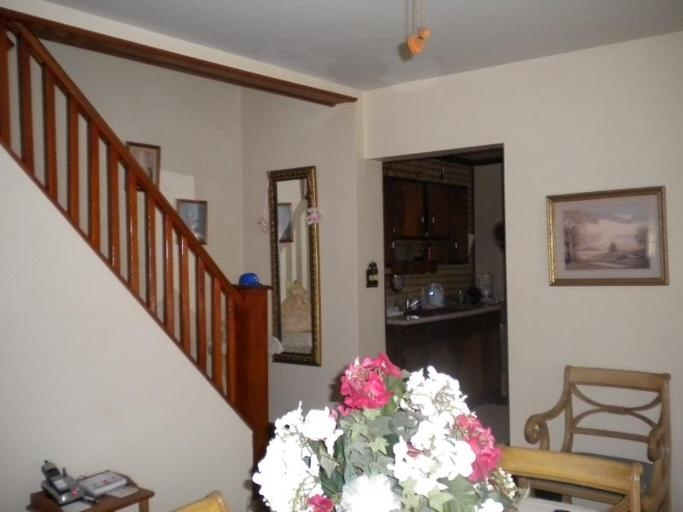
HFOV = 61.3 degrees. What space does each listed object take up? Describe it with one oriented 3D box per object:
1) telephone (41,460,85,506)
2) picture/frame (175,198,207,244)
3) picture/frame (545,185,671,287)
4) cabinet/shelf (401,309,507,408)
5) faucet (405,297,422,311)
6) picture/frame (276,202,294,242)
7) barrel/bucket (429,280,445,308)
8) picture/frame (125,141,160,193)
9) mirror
[{"bbox_3d":[-1.723,1.364,3.495,0.308,0.211,0.151,-2,-1,26],"label":"telephone"},{"bbox_3d":[-1.478,-0.343,5.587,0.034,0.581,0.470,-2,-2,26],"label":"picture/frame"},{"bbox_3d":[2.167,-0.160,4.607,0.740,0.798,0.054,-1,-1,30],"label":"picture/frame"},{"bbox_3d":[1.285,1.355,7.197,1.458,1.312,0.508,-2,0,-32],"label":"cabinet/shelf"},{"bbox_3d":[0.875,0.596,7.071,0.160,0.138,0.163,-4,4,36],"label":"faucet"},{"bbox_3d":[-0.627,-0.360,6.216,0.219,0.426,0.011,-4,3,-37],"label":"picture/frame"},{"bbox_3d":[1.198,0.494,7.267,0.300,0.275,0.130,-1,-1,-42],"label":"barrel/bucket"},{"bbox_3d":[-1.970,-0.900,5.709,0.302,0.381,0.026,-1,6,-35],"label":"picture/frame"},{"bbox_3d":[-0.502,0.101,6.096,0.648,1.579,0.168,-2,-1,43],"label":"mirror"}]
